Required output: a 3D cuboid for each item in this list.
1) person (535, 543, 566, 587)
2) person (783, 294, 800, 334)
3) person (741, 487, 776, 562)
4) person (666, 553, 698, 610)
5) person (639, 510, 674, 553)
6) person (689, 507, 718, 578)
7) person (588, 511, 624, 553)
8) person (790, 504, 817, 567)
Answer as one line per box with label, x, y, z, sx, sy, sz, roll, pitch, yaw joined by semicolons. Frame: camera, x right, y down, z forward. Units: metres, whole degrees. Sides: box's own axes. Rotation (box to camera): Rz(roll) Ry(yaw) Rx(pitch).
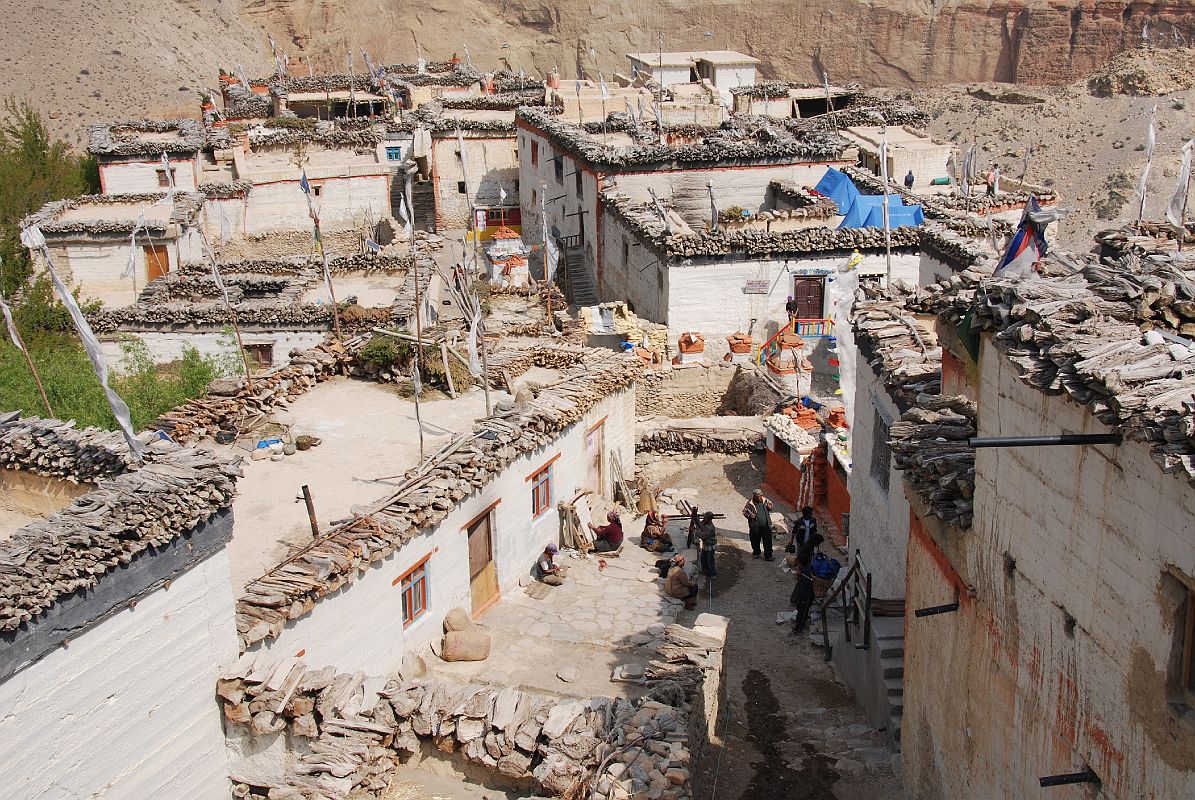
person;-1.212;4.101;25.942;0.747;1.057;1.046;0;10;2
person;7.306;-3.196;38.890;0.394;1.514;0.844;-14;-17;39
person;4.200;3.117;27.046;0.697;1.985;0.857;1;24;8
person;2.039;4.452;25.291;0.794;1.155;0.712;12;21;37
person;1.476;3.469;27.342;0.933;1.098;0.856;5;17;38
person;2.677;3.529;26.364;0.567;1.756;1.178;-1;24;2
person;0.196;3.458;26.902;0.654;1.034;0.460;34;39;27
person;5.045;3.475;25.848;0.698;1.962;0.525;-6;27;-11
